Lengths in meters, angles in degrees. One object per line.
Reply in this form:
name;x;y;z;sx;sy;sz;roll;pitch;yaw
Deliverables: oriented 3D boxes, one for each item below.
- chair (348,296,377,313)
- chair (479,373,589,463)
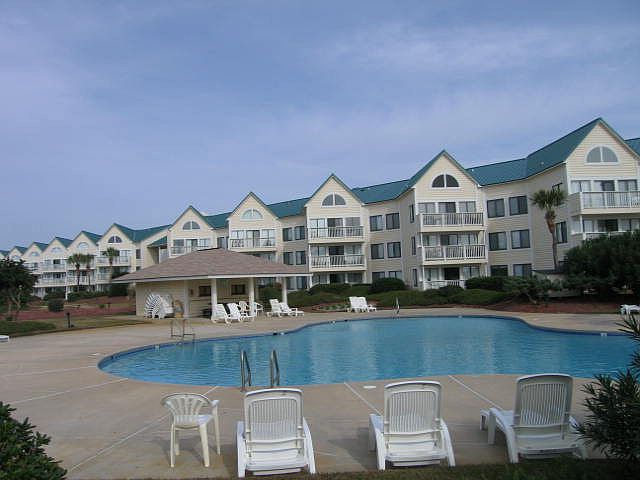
chair;2.628;4.458;38.866;2.018;0.716;1.277;3;-8;-25
chair;3.887;3.065;9.891;1.372;1.472;0.612;-2;-8;-3
